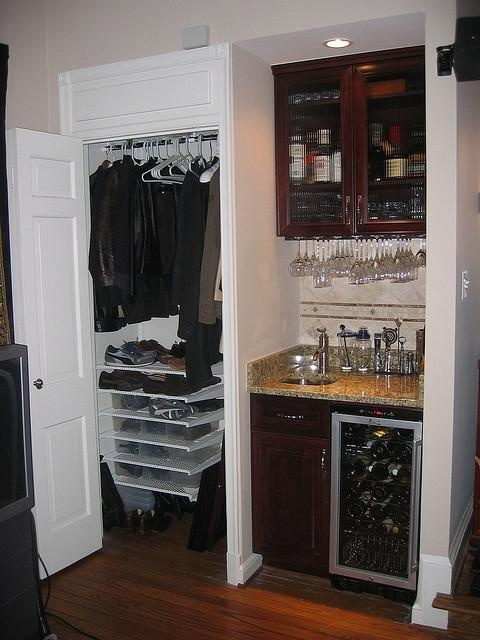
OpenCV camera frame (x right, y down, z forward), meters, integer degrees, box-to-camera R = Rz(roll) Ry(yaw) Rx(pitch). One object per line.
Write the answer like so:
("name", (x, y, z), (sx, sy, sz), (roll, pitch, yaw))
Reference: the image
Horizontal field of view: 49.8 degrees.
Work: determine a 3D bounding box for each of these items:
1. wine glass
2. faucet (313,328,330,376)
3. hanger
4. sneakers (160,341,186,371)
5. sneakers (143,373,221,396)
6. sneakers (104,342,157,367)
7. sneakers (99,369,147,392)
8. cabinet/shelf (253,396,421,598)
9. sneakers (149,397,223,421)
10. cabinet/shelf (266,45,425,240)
("wine glass", (0.624, -0.307, 2.721), (0.316, 0.233, 0.561), (-4, 5, -37))
("faucet", (0.463, 0.172, 2.907), (0.078, 0.249, 0.150), (0, 1, 9))
("hanger", (-0.450, -0.802, 2.885), (1.041, 0.411, 0.325), (12, 21, 42))
("sneakers", (-0.369, 0.197, 2.925), (0.080, 0.113, 0.267), (10, -7, 0))
("sneakers", (-0.360, 0.357, 2.840), (0.260, 0.112, 0.174), (-4, -5, 19))
("sneakers", (-0.630, 0.201, 2.999), (0.226, 0.118, 0.147), (3, -1, 20))
("sneakers", (-0.678, 0.343, 3.034), (0.321, 0.163, 0.114), (-2, -3, 22))
("cabinet/shelf", (0.467, 0.783, 2.333), (0.783, 0.884, 0.403), (1, 2, 24))
("sneakers", (-0.317, 0.492, 2.881), (0.255, 0.109, 0.152), (-2, -6, 6))
("cabinet/shelf", (0.537, -0.892, 2.519), (0.711, 0.779, 0.287), (2, 5, 27))
